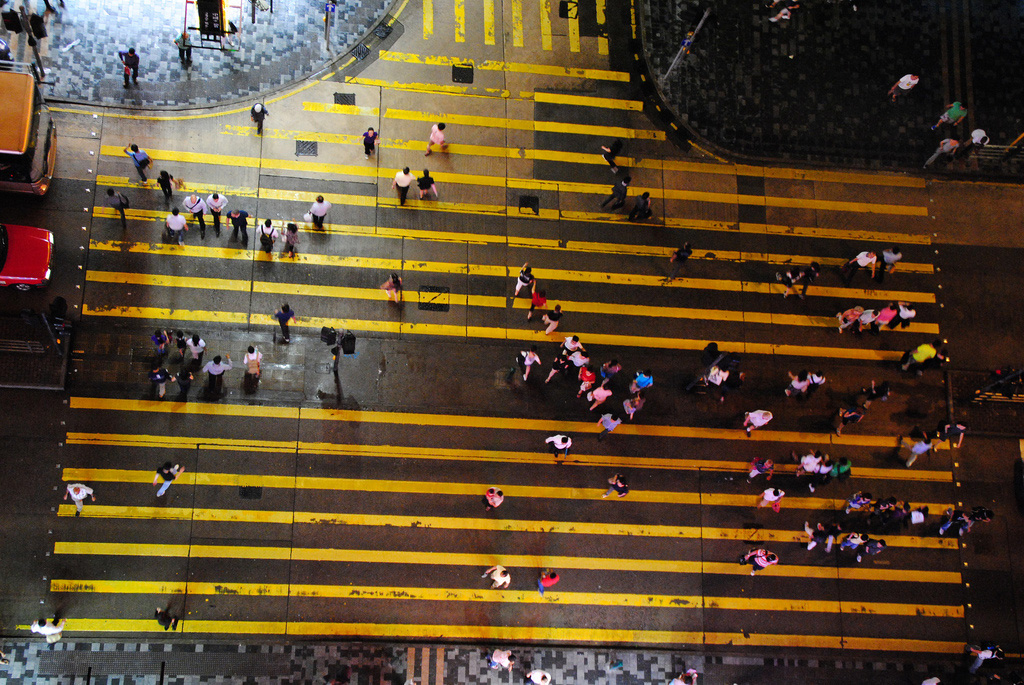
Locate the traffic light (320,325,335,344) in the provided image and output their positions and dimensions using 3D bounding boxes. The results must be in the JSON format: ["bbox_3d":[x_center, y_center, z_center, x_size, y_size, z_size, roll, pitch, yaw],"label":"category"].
[{"bbox_3d":[-7.268,-0.316,61.981,0.306,0.508,0.533,-24,43,-21],"label":"traffic light"}]
